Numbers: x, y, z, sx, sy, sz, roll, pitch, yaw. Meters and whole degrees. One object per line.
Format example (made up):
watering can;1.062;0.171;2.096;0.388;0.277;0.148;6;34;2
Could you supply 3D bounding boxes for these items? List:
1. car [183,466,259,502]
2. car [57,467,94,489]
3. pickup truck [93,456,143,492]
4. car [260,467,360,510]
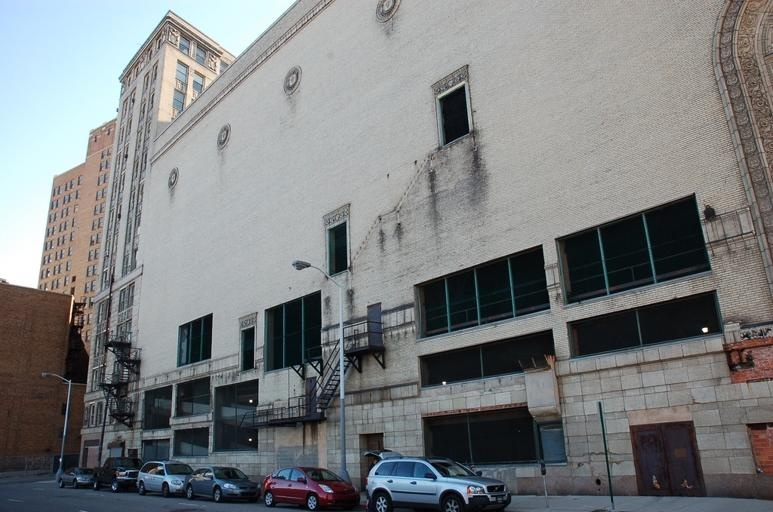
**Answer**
car;-9.489;13.360;37.457;4.438;2.096;1.702;-20;-28;34
car;-23.268;16.779;48.478;3.597;1.486;1.528;-20;-28;35
pickup truck;-18.979;15.661;45.969;1.788;2.451;4.721;17;-30;-39
car;-3.960;12.048;33.211;4.769;2.184;1.255;-15;-26;26
